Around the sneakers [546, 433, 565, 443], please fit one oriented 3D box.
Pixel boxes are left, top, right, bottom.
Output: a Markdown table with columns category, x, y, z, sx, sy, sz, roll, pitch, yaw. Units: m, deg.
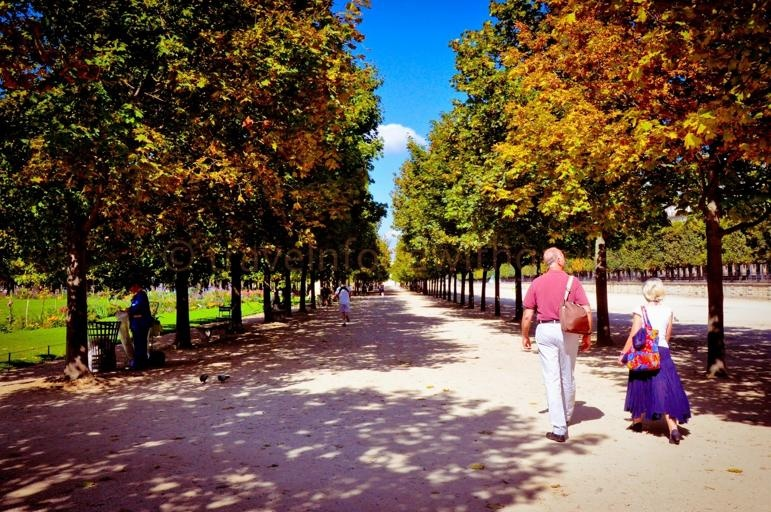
| category | x | y | z | sx | sy | sz | roll | pitch | yaw |
| --- | --- | --- | --- | --- | --- | --- | --- | --- | --- |
| sneakers | 3.259 | 3.485 | 12.856 | 0.157 | 0.119 | 0.287 | 1 | 4 | -42 |

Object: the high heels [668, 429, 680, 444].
| category | x | y | z | sx | sy | sz | roll | pitch | yaw |
| --- | --- | --- | --- | --- | --- | --- | --- | --- | --- |
| high heels | 5.566 | 3.463 | 12.921 | 0.140 | 0.159 | 0.382 | -5 | -3 | 16 |

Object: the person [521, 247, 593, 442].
| category | x | y | z | sx | sy | sz | roll | pitch | yaw |
| --- | --- | --- | --- | --- | --- | --- | --- | --- | --- |
| person | 3.339 | 1.710 | 13.107 | 0.992 | 3.646 | 1.112 | -7 | 10 | -40 |

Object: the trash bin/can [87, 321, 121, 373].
| category | x | y | z | sx | sy | sz | roll | pitch | yaw |
| --- | --- | --- | --- | --- | --- | --- | --- | --- | --- |
| trash bin/can | -7.888 | 2.574 | 18.846 | 1.285 | 1.671 | 1.274 | 1 | -7 | -16 |

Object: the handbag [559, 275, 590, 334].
| category | x | y | z | sx | sy | sz | roll | pitch | yaw |
| --- | --- | --- | --- | --- | --- | --- | --- | --- | --- |
| handbag | 3.656 | 0.984 | 12.902 | 0.548 | 1.089 | 0.386 | 2 | 8 | 24 |

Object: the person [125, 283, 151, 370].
| category | x | y | z | sx | sy | sz | roll | pitch | yaw |
| --- | --- | --- | --- | --- | --- | --- | --- | --- | --- |
| person | -6.931 | 2.014 | 18.947 | 0.632 | 2.408 | 0.648 | -4 | 8 | -21 |
